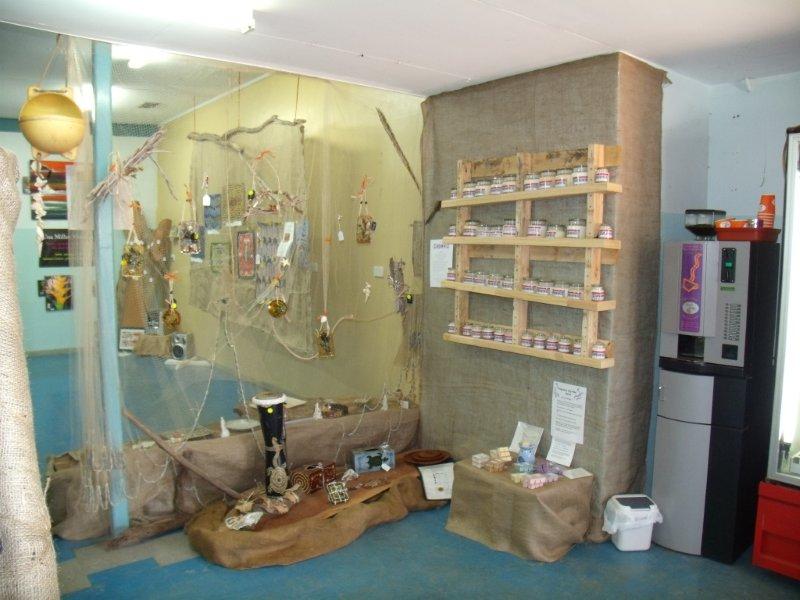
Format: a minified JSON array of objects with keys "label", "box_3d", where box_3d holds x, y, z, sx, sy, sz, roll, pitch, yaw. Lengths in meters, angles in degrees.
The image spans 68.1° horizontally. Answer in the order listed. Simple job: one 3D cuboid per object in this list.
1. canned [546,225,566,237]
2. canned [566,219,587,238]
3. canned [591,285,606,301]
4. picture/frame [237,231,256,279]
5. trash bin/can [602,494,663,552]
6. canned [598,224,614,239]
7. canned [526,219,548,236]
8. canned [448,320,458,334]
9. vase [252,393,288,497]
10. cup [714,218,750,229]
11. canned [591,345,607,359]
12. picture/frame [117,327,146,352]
[{"label":"canned","box_3d":[1.138,-0.492,4.304,0.110,0.072,0.107,-2,5,-44]},{"label":"canned","box_3d":[1.234,-0.508,4.177,0.126,0.122,0.127,1,3,-6]},{"label":"canned","box_3d":[1.362,-0.054,4.121,0.103,0.110,0.106,-1,-2,43]},{"label":"picture/frame","box_3d":[-1.204,-0.350,4.593,0.037,0.361,0.160,-3,2,23]},{"label":"trash bin/can","box_3d":[1.680,1.600,4.273,0.401,0.319,0.291,1,6,1]},{"label":"canned","box_3d":[1.425,-0.476,4.103,0.109,0.102,0.096,1,3,13]},{"label":"canned","box_3d":[1.010,-0.530,4.381,0.129,0.104,0.125,3,3,-13]},{"label":"canned","box_3d":[0.440,0.230,5.015,0.098,0.129,0.095,3,-3,-35]},{"label":"vase","box_3d":[-0.970,1.071,4.490,0.238,0.738,0.224,2,5,13]},{"label":"cup","box_3d":[2.324,-0.530,4.110,0.130,0.041,0.096,-1,1,-29]},{"label":"canned","box_3d":[1.388,0.356,4.120,0.093,0.096,0.090,2,0,-31]},{"label":"picture/frame","box_3d":[-1.964,0.275,4.279,0.165,0.148,0.042,-1,10,-25]}]
